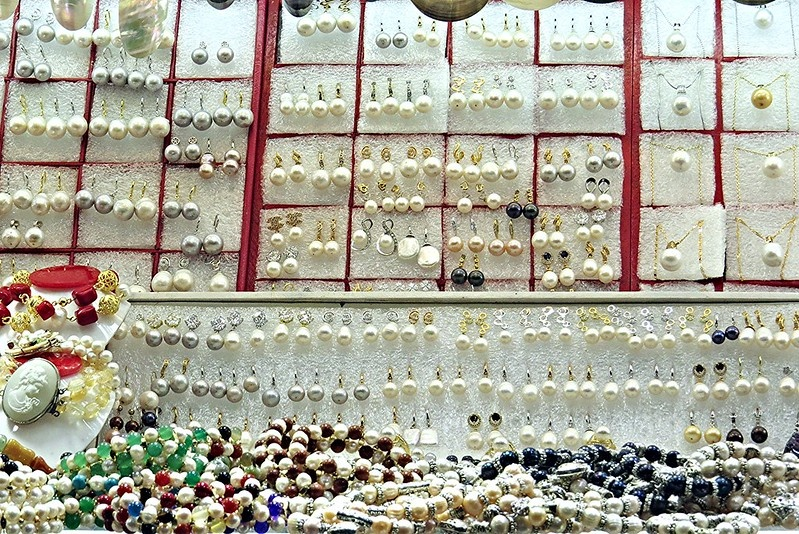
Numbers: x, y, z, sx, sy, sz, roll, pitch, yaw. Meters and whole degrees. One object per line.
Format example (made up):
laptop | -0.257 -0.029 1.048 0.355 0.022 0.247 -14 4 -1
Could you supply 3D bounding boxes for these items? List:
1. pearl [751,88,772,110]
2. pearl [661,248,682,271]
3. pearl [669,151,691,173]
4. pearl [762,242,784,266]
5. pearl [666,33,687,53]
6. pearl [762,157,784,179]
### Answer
pearl | 1.263 -0.588 4.485 0.069 0.065 0.038 -4 3 21
pearl | 0.934 -0.025 4.470 0.077 0.082 0.071 -8 29 -6
pearl | 0.979 -0.372 4.528 0.071 0.072 0.084 -10 41 -3
pearl | 1.272 -0.042 4.436 0.079 0.089 0.076 5 -7 -14
pearl | 0.983 -0.802 4.566 0.070 0.070 0.038 4 -5 9
pearl | 1.304 -0.350 4.501 0.069 0.077 0.069 3 14 -4
